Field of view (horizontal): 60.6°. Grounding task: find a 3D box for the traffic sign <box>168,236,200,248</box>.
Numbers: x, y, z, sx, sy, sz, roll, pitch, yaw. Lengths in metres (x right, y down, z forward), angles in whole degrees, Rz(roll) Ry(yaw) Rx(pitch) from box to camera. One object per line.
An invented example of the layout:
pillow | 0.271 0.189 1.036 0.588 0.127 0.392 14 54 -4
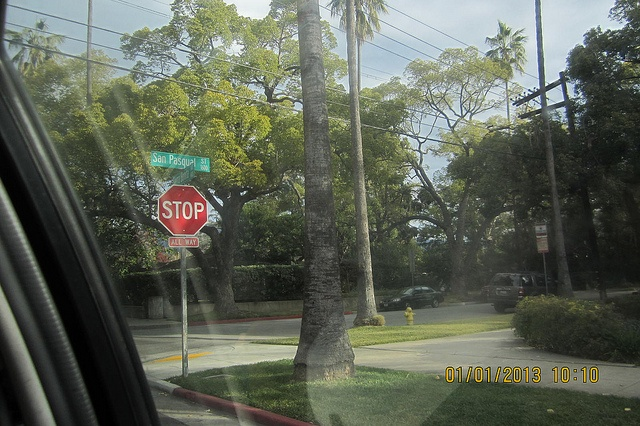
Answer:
traffic sign | -2.596 0.522 10.207 0.667 0.205 0.300 3 -9 -42

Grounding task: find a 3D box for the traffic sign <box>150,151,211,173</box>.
traffic sign | -2.553 -0.967 9.640 0.445 0.311 1.314 -6 -8 31

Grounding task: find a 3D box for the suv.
suv | 8.946 3.366 24.619 2.421 1.416 1.324 -1 -6 -17

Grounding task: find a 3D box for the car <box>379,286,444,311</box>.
car | 5.431 4.842 31.668 3.710 1.181 1.558 7 -14 -38

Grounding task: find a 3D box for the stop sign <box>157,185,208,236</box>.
stop sign | -2.573 -0.070 10.179 0.912 0.963 0.370 0 -6 -25
